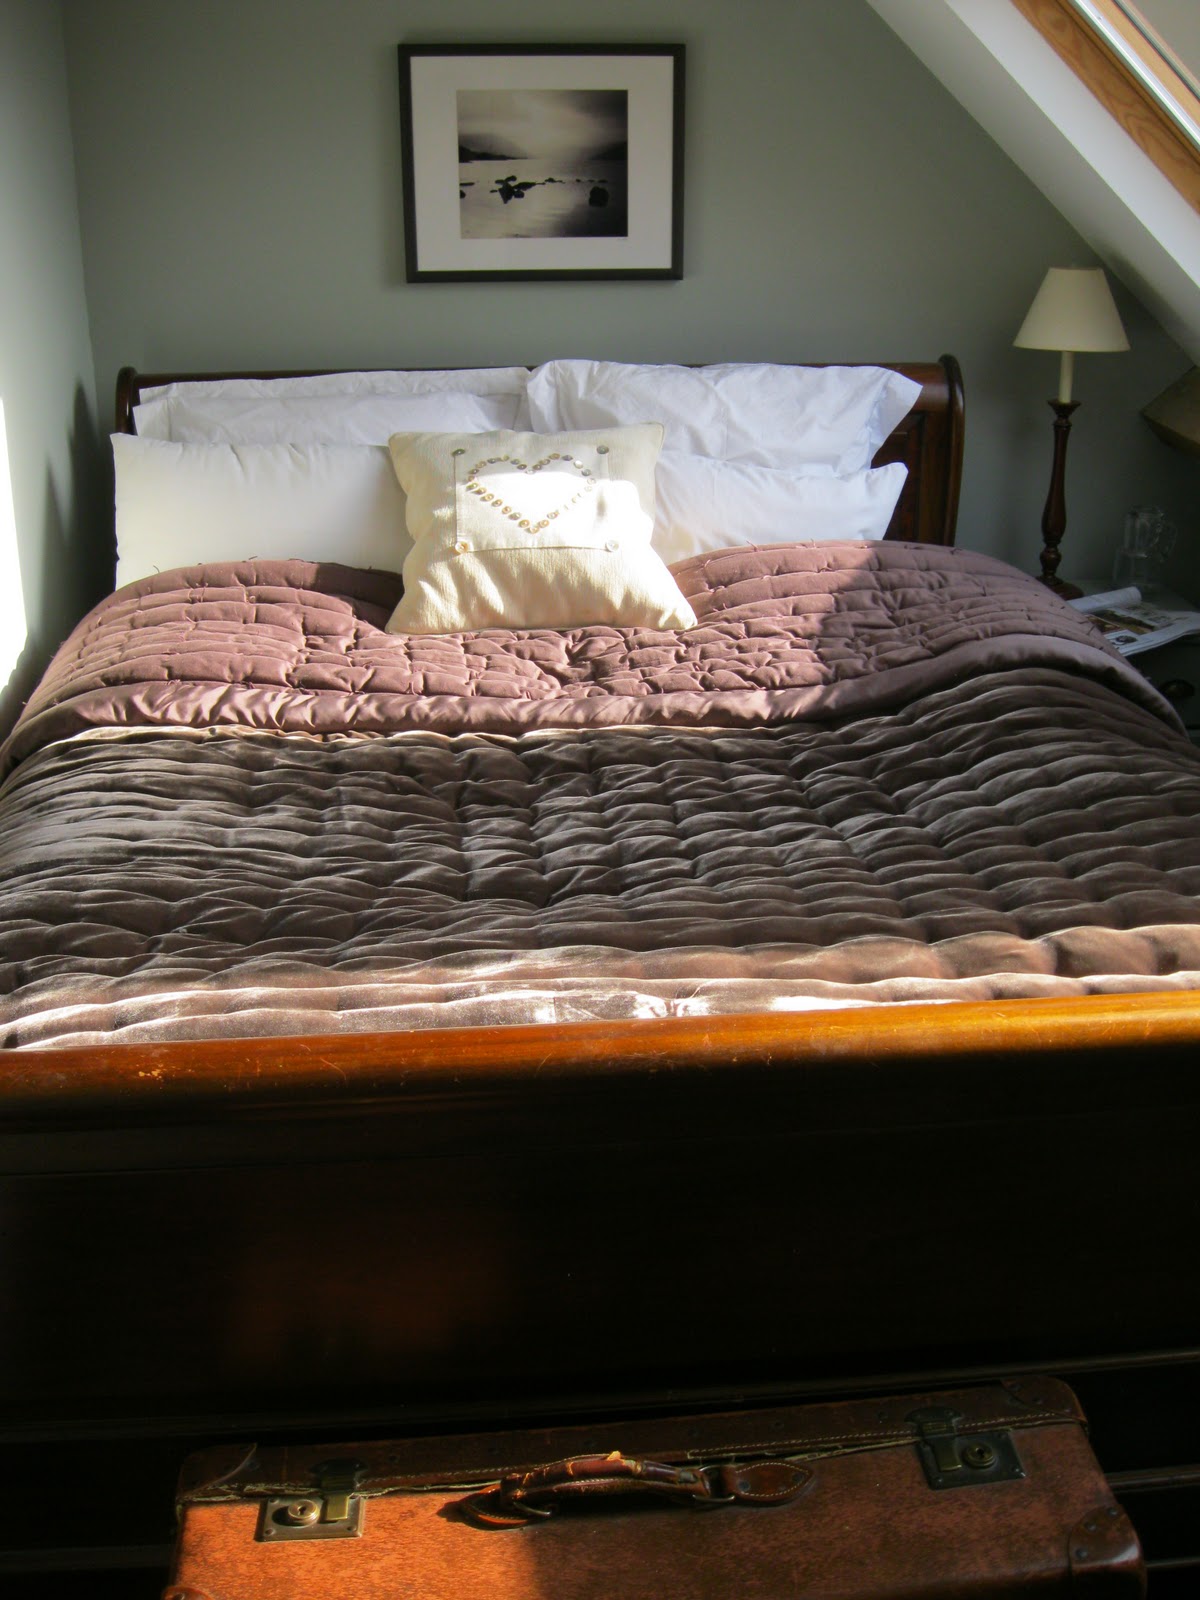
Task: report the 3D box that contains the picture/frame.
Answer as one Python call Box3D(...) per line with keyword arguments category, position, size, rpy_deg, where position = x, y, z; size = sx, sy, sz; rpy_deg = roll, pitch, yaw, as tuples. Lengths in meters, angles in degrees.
Box3D(category="picture/frame", position=(-0.143, -1.433, 2.986), size=(0.624, 0.420, 0.022), rpy_deg=(-2, 32, -7))
